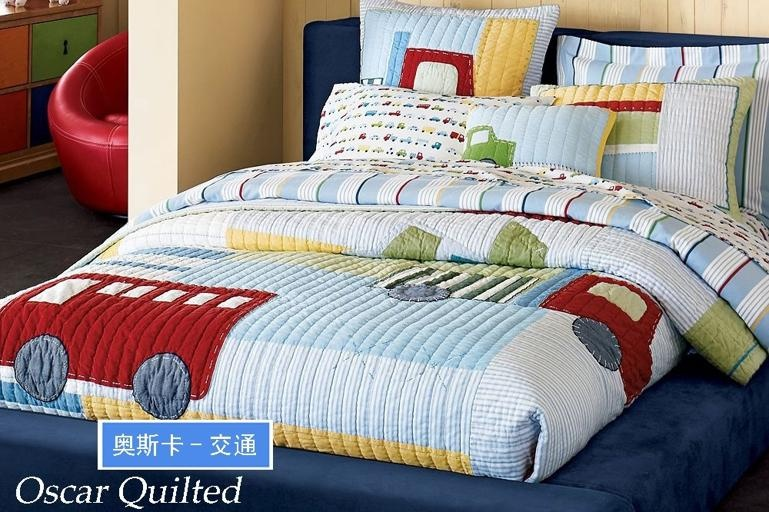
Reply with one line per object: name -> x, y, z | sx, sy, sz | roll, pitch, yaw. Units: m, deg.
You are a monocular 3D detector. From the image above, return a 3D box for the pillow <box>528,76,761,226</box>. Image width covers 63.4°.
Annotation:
pillow -> 0.935, -0.354, 2.176 | 0.789, 0.367, 0.167 | 6, -3, 20
